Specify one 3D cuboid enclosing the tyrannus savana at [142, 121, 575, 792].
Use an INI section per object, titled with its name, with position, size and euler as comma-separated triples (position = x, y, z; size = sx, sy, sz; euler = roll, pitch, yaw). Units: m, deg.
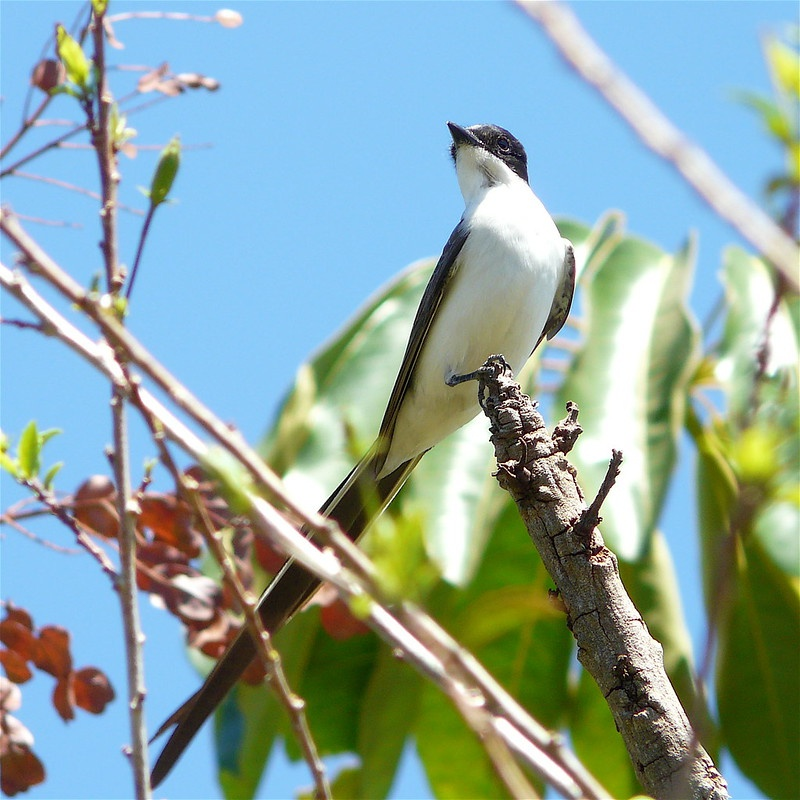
[tyrannus savana]
position = -0.053, 0.089, 4.310
size = 0.573, 2.584, 1.207
euler = 2, -56, 38
